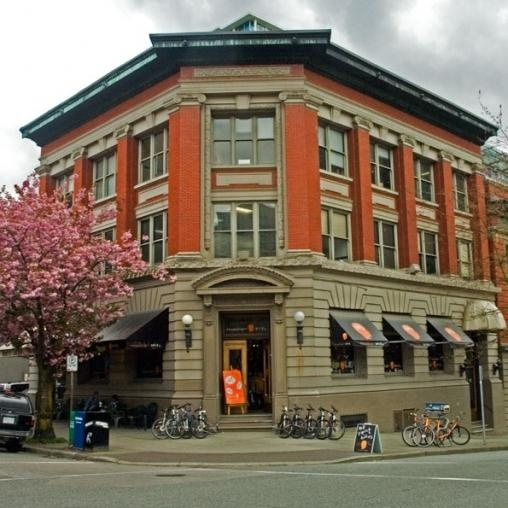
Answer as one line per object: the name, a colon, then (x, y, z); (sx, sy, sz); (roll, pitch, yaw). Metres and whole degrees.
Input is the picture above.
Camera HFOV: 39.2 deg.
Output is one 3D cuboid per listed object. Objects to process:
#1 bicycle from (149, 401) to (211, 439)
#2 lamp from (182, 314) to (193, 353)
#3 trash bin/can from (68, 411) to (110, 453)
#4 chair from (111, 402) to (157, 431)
bicycle: (-2.369, 5.627, 23.541); (2.028, 0.935, 0.991); (4, -32, -4)
lamp: (-2.335, 2.744, 25.330); (0.391, 1.360, 0.785); (1, -18, -5)
trash bin/can: (-4.473, 4.871, 19.543); (1.379, 0.982, 0.727); (0, -4, 37)
chair: (-4.438, 6.057, 26.620); (1.542, 0.671, 0.494); (-6, -19, 23)
